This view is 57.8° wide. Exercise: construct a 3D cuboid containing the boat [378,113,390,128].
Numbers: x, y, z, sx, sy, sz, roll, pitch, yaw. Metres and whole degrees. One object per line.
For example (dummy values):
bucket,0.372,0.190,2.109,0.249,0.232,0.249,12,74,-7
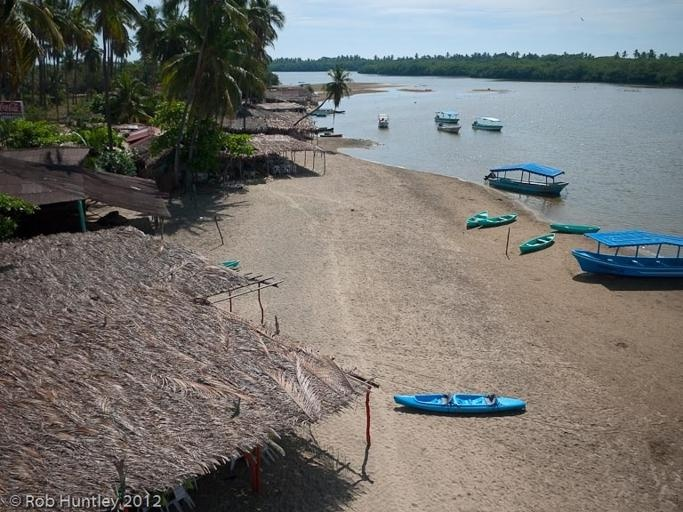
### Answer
boat,5.743,-19.979,85.593,1.282,0.835,3.717,2,28,0
